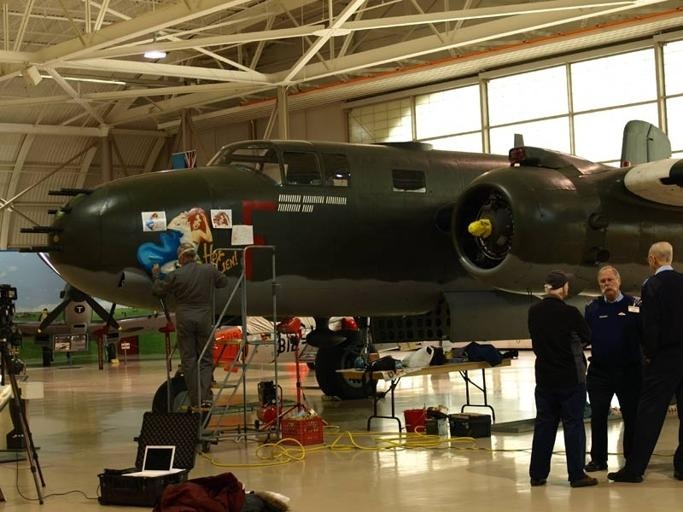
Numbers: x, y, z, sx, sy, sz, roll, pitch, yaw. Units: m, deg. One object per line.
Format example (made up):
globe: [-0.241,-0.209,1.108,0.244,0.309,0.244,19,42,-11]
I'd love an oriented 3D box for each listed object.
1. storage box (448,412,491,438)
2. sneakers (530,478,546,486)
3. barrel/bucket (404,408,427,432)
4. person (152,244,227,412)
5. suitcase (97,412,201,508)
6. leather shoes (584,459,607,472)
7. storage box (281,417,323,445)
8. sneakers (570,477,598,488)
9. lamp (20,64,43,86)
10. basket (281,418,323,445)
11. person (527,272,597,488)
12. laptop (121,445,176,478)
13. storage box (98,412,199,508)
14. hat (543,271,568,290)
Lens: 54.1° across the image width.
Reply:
storage box: [1.866,2.427,9.730,0.464,0.221,0.452,7,-11,-39]
sneakers: [2.137,2.463,7.288,0.167,0.053,0.066,12,-13,-32]
barrel/bucket: [1.160,2.547,10.344,0.395,0.280,0.332,-3,-6,20]
person: [-2.085,0.965,9.171,0.897,2.227,0.421,2,-3,-25]
suitcase: [-2.154,2.285,7.524,0.902,0.810,1.142,-4,-10,22]
leather shoes: [2.949,2.459,7.834,0.336,0.106,0.100,5,-5,-20]
storage box: [-0.561,2.468,9.590,0.524,0.269,0.470,3,-7,-29]
sneakers: [2.590,2.423,7.208,0.334,0.096,0.104,-3,2,-7]
lamp: [-9.151,-5.319,19.779,0.491,0.548,1.442,2,-2,-25]
basket: [-0.556,2.468,9.589,0.518,0.266,0.462,3,-7,-28]
person: [2.358,1.339,7.274,0.598,2.315,0.415,-1,-3,37]
laptop: [-2.127,2.316,7.486,0.454,0.215,0.352,-3,-7,23]
storage box: [-2.137,2.299,7.537,0.905,0.810,1.139,-4,-10,22]
hat: [2.354,0.271,7.365,0.180,0.112,0.254,0,22,37]
